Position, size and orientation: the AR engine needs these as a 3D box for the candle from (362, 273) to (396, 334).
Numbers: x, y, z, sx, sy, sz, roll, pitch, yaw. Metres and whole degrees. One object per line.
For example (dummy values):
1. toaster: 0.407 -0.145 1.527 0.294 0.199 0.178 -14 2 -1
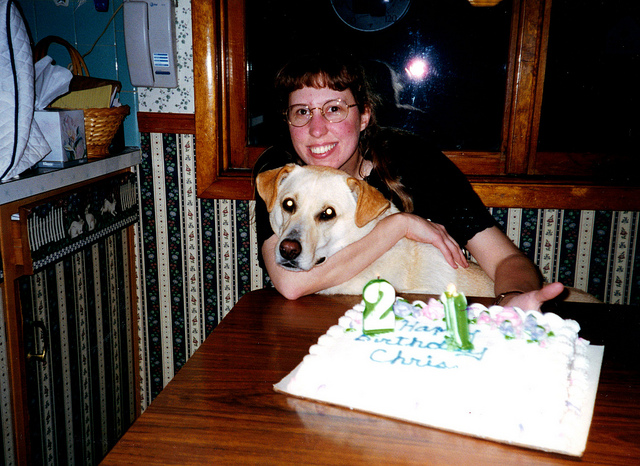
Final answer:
1. candle: 0.220 0.264 2.017 0.130 0.183 0.064 5 2 -1

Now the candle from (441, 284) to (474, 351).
1. candle: 0.478 0.286 1.887 0.108 0.210 0.061 5 2 14

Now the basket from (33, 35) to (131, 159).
1. basket: -1.288 -0.773 3.163 0.370 0.433 0.387 4 27 -17

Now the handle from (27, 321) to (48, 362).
1. handle: -1.345 0.518 2.666 0.058 0.208 0.124 5 2 11
